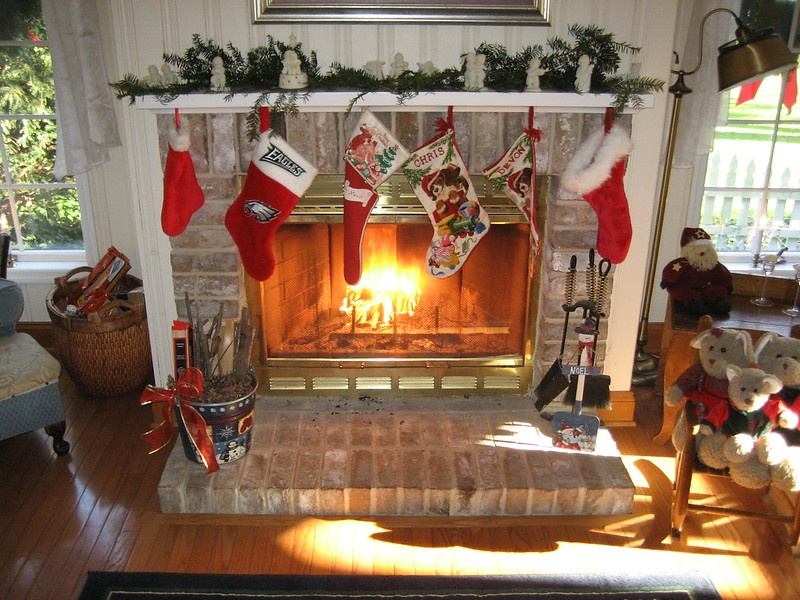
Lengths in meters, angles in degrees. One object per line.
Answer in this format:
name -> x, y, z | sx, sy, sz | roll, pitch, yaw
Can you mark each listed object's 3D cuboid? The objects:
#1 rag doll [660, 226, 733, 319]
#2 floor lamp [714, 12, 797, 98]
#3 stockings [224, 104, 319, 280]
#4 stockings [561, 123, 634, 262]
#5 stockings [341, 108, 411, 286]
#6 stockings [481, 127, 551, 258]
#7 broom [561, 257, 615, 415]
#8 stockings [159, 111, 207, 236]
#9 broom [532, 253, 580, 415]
rag doll -> 1.529, -0.165, 3.049 | 0.315, 0.403, 0.324 | 8, 18, 37
floor lamp -> 1.533, -1.041, 2.694 | 0.342, 0.336, 0.329 | -14, 11, 3
stockings -> -0.567, -0.447, 2.549 | 0.397, 0.722, 0.151 | 9, 21, 22
stockings -> 0.868, -0.460, 2.633 | 0.279, 0.598, 0.201 | 18, 26, 40
stockings -> -0.150, -0.469, 2.579 | 0.280, 0.650, 0.036 | 18, 30, 11
stockings -> 0.488, -0.467, 2.583 | 0.264, 0.544, 0.106 | 7, 21, 18
broom -> 0.885, 0.165, 2.785 | 0.266, 0.783, 0.404 | 6, 20, 15
stockings -> -0.971, -0.555, 2.608 | 0.182, 0.529, 0.123 | -8, 21, -23
broom -> 0.743, 0.166, 2.773 | 0.119, 0.804, 0.192 | 8, 25, 13
